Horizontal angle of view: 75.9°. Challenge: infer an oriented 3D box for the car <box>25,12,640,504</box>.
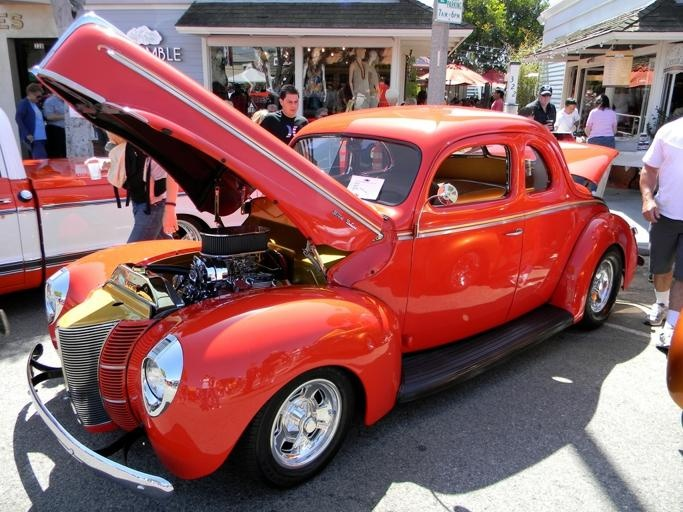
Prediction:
[{"bbox_3d":[0.272,-0.265,4.034,4.946,2.253,2.299,-9,17,-33],"label":"car"}]
